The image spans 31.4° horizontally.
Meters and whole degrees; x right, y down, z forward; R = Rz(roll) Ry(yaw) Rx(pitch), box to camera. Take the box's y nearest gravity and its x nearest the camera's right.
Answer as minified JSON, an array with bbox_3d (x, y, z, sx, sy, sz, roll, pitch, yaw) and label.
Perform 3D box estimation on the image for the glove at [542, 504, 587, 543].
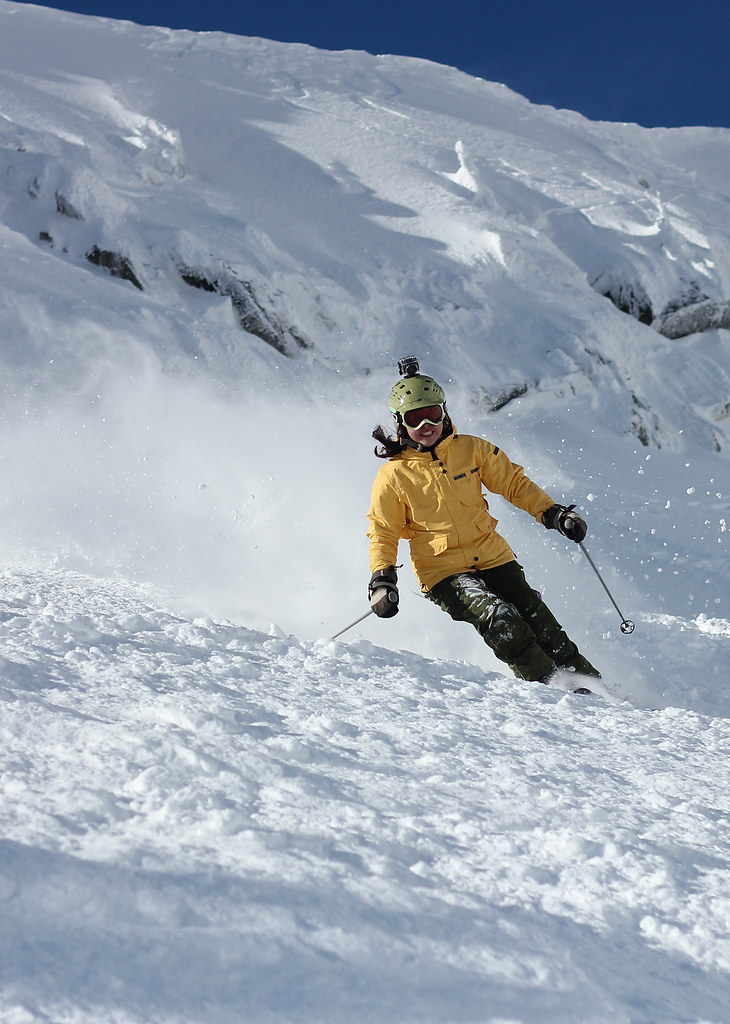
[{"bbox_3d":[1.122,0.050,7.314,0.124,0.177,0.255,-41,36,-17],"label":"glove"}]

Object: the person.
[{"bbox_3d":[0.598,0.035,7.153,1.334,1.607,1.020,13,12,13],"label":"person"}]

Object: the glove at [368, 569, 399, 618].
[{"bbox_3d":[0.097,0.432,7.074,0.180,0.245,0.108,-3,-24,2],"label":"glove"}]
